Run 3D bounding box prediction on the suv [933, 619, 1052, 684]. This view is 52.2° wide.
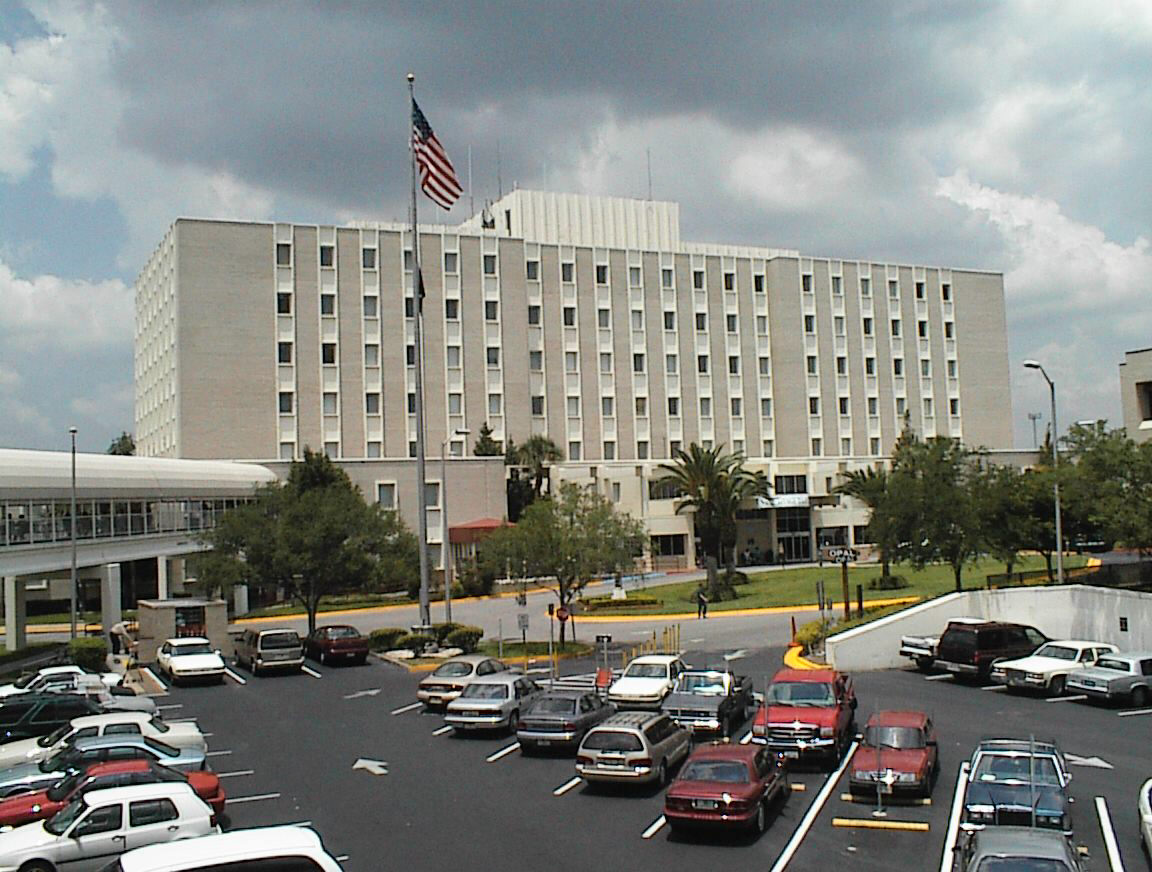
[{"bbox_3d":[16.331,8.144,45.974,3.702,1.817,2.078,-5,2,-38],"label":"suv"}]

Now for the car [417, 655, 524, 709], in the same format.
[{"bbox_3d":[-4.198,9.013,42.357,1.728,1.681,4.163,-1,-3,11],"label":"car"}]

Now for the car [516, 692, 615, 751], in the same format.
[{"bbox_3d":[-0.461,8.973,36.955,2.067,1.964,2.575,-4,-10,15],"label":"car"}]

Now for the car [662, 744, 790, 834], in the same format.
[{"bbox_3d":[3.813,9.424,30.773,2.399,2.284,2.631,-6,-10,20],"label":"car"}]

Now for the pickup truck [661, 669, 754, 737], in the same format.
[{"bbox_3d":[4.514,8.829,39.785,2.222,1.898,4.919,0,-1,19],"label":"pickup truck"}]

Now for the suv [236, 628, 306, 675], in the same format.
[{"bbox_3d":[-13.311,9.432,51.426,1.915,2.050,3.355,-2,-1,-33],"label":"suv"}]

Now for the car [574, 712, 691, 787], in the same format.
[{"bbox_3d":[1.572,9.028,33.627,2.455,2.149,2.926,-4,-10,15],"label":"car"}]

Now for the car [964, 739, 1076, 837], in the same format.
[{"bbox_3d":[11.422,9.096,30.357,2.231,2.080,2.668,-4,-8,16],"label":"car"}]

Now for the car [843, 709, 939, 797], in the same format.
[{"bbox_3d":[8.827,9.016,32.911,2.209,2.111,2.491,-5,-9,20],"label":"car"}]

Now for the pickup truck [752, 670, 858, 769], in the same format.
[{"bbox_3d":[6.983,8.667,35.643,1.976,2.208,5.306,-1,-3,17],"label":"pickup truck"}]
